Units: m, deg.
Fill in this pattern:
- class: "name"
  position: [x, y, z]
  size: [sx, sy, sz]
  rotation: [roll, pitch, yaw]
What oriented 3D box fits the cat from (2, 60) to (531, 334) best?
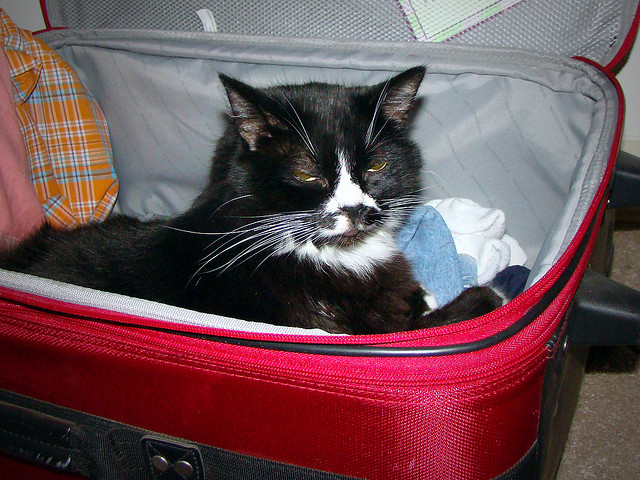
- class: "cat"
  position: [-0.077, -0.059, 1.357]
  size: [1.165, 0.572, 0.470]
  rotation: [-11, 14, 4]
